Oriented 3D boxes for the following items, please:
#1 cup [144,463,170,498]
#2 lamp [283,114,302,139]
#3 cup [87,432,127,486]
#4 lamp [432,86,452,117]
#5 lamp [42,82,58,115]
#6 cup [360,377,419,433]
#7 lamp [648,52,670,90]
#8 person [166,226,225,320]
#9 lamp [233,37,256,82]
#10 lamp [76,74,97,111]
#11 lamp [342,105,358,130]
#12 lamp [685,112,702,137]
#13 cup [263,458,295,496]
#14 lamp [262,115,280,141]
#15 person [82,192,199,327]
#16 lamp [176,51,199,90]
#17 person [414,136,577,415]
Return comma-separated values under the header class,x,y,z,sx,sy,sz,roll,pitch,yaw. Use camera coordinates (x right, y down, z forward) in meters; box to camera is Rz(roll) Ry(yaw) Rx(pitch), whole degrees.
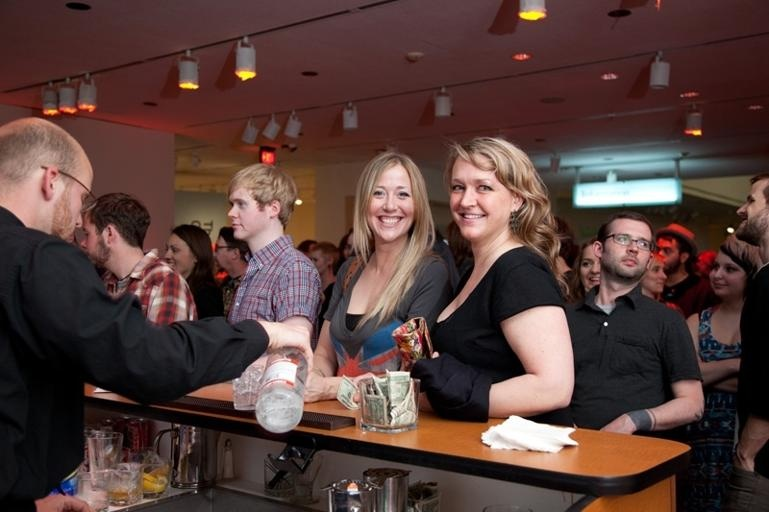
class,x,y,z,sx,sy,sz,roll,pitch,yaw
cup,-0.922,0.893,2.373,0.107,0.090,0.105,2,-14,0
lamp,-1.276,-1.816,8.258,0.229,0.318,0.362,3,5,-2
cup,-1.108,0.798,2.361,0.144,0.195,0.140,-2,0,0
lamp,0.709,-1.854,7.127,0.157,0.338,0.634,-1,10,10
lamp,-4.122,-1.924,7.247,0.181,0.322,0.406,-9,12,-29
cup,0.015,0.478,1.971,0.196,0.162,0.180,-1,-1,0
lamp,2.712,-1.840,5.811,0.168,0.337,0.328,2,11,22
person,-1.530,0.124,4.758,0.491,0.766,0.846,3,-10,-25
lamp,-1.341,-1.905,5.646,0.176,0.365,0.283,-5,11,-8
lamp,-3.471,-1.912,6.851,0.210,0.364,0.376,-8,12,-25
lamp,-0.461,-1.828,7.689,0.186,0.324,0.284,-4,11,-3
lamp,3.937,-1.705,7.505,0.176,0.252,0.280,2,11,22
cup,-0.412,0.874,2.352,0.140,0.133,0.129,-1,-19,0
lamp,-1.612,-1.827,8.507,0.207,0.244,0.339,24,10,-22
person,-1.380,0.020,3.313,0.662,0.712,0.933,-6,9,-43
lamp,-2.031,-1.913,6.075,0.203,0.358,0.448,-6,11,-17
person,0.399,0.087,2.126,0.533,1.031,0.720,0,11,15
